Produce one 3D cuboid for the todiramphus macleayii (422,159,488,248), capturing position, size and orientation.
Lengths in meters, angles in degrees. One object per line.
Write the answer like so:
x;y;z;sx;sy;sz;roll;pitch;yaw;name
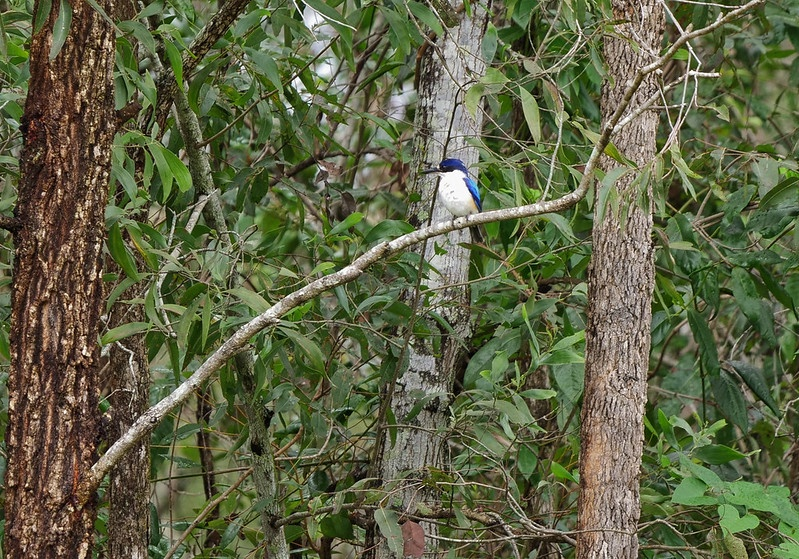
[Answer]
0.381;-0.589;8.845;0.615;0.632;0.298;3;-7;-38;todiramphus macleayii
